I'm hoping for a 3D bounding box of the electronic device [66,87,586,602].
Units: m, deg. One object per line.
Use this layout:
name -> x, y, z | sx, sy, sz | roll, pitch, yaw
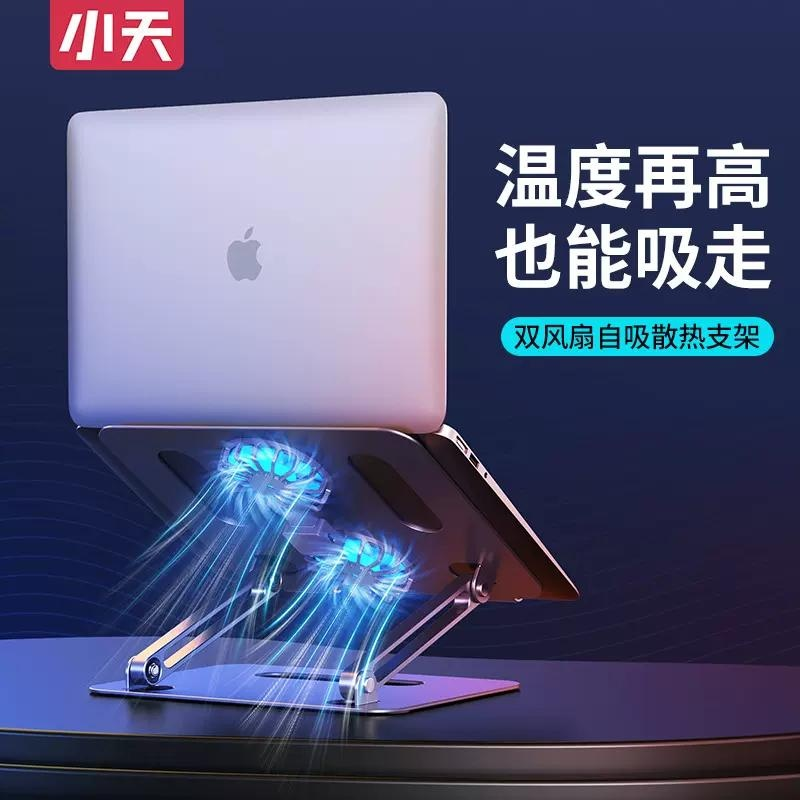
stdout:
electronic device -> -0.126, -0.115, 1.356 | 0.569, 0.435, 0.504 | 2, 94, 15
